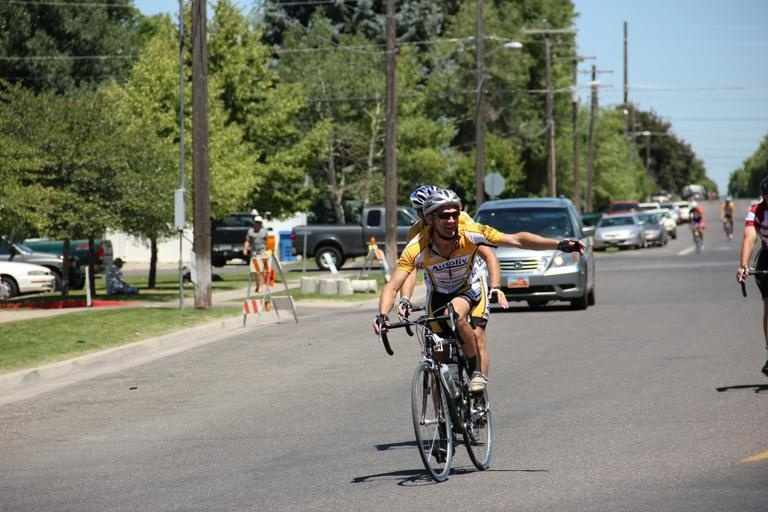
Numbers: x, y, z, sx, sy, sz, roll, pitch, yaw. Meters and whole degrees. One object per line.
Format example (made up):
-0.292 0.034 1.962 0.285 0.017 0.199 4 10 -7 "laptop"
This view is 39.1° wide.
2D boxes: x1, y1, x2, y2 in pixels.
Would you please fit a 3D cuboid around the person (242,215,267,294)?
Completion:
-3.774 -0.091 32.553 0.739 2.226 0.579 -2 7 8 "person"

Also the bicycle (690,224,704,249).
13.294 -0.868 45.634 0.836 1.032 1.720 0 8 13 "bicycle"

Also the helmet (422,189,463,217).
0.667 -0.627 12.304 0.442 0.285 0.263 -5 3 2 "helmet"
